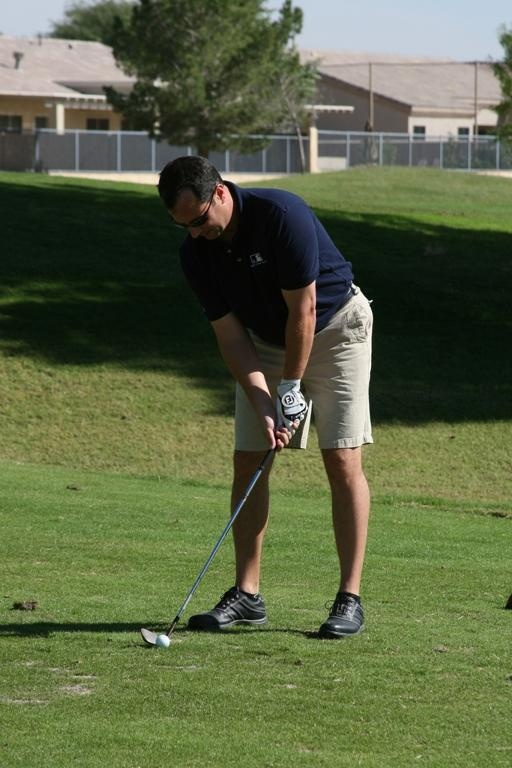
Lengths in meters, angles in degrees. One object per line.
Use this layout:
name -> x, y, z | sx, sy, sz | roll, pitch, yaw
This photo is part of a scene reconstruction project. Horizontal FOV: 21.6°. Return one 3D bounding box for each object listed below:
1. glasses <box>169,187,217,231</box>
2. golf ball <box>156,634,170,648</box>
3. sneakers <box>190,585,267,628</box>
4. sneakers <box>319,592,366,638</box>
glasses -> -0.173, -0.496, 3.809 | 0.030, 0.109, 0.100 | 35, -26, -17
golf ball -> -0.256, 0.708, 3.686 | 0.036, 0.039, 0.040 | 2, 4, 0
sneakers -> -0.077, 0.677, 4.085 | 0.246, 0.135, 0.098 | -2, -2, -27
sneakers -> 0.254, 0.671, 3.925 | 0.096, 0.108, 0.200 | 4, 5, 21
